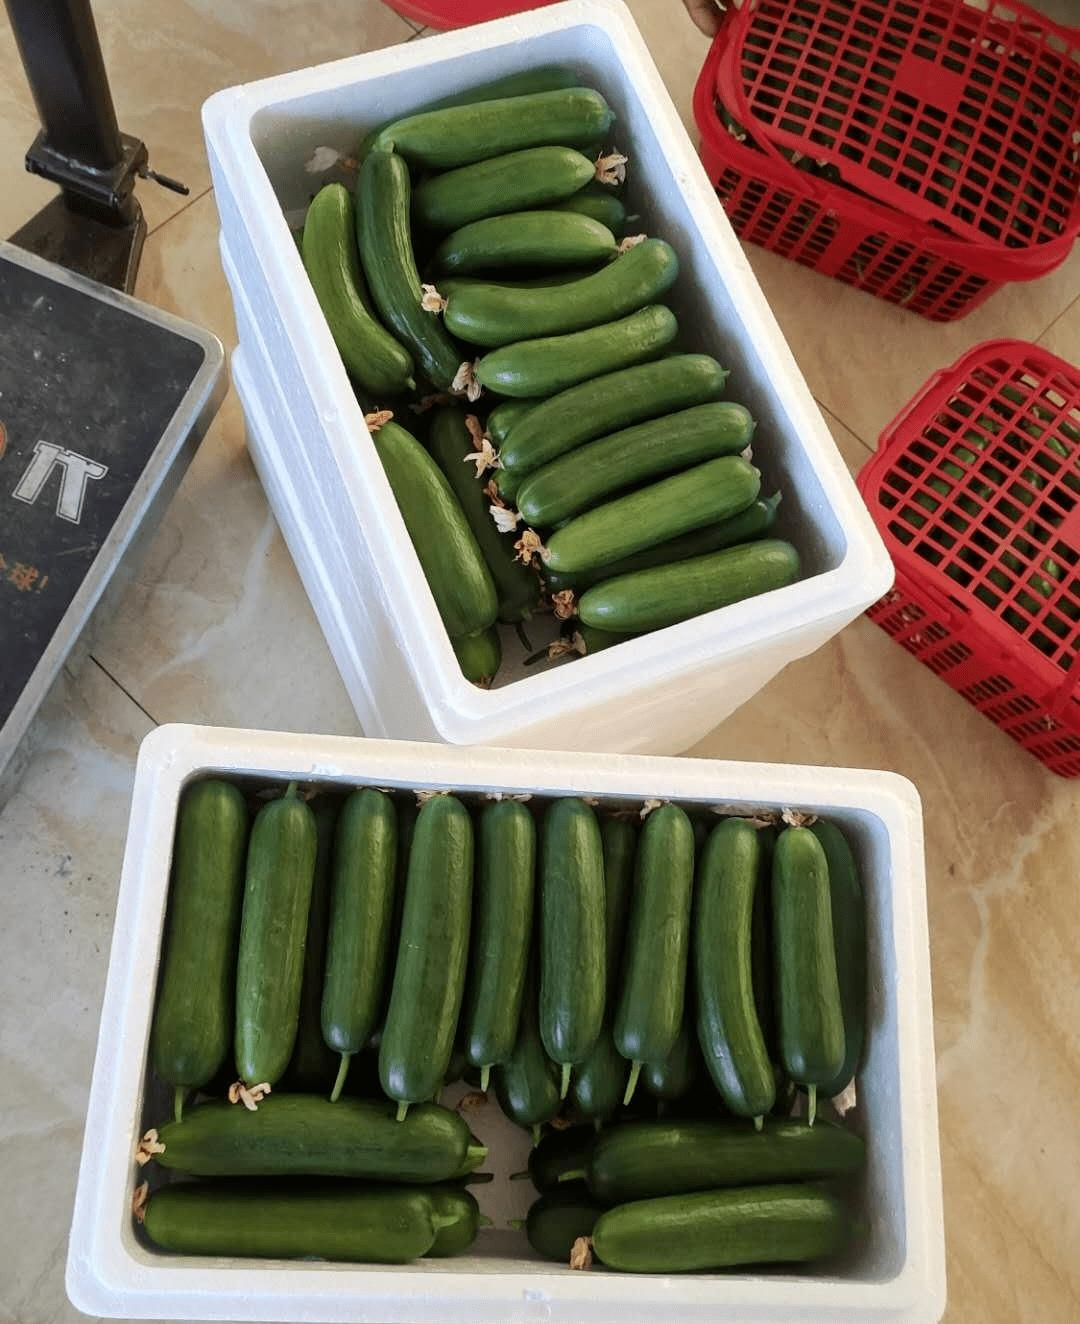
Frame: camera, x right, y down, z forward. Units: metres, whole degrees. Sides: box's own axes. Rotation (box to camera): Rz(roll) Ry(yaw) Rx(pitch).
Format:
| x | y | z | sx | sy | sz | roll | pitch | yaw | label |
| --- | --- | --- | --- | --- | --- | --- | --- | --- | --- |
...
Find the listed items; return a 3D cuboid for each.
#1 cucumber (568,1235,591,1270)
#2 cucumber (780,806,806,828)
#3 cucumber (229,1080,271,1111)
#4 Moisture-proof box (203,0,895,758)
| x | y | z | sx | sy | sz | roll | pitch | yaw | label |
| --- | --- | --- | --- | --- | --- | --- | --- | --- | --- |
| 0.029 | 0.440 | 1.011 | 0.020 | 0.006 | 0.020 | -4 | 100 | -39 | cucumber |
| 0.209 | 0.125 | 1.095 | 0.005 | 0.020 | 0.015 | 29 | 96 | 47 | cucumber |
| -0.212 | 0.313 | 0.978 | 0.023 | 0.009 | 0.022 | 24 | 70 | 11 | cucumber |
| -0.026 | -0.175 | 1.388 | 0.441 | 0.635 | 0.619 | -20 | 71 | -11 | Moisture-proof box |
